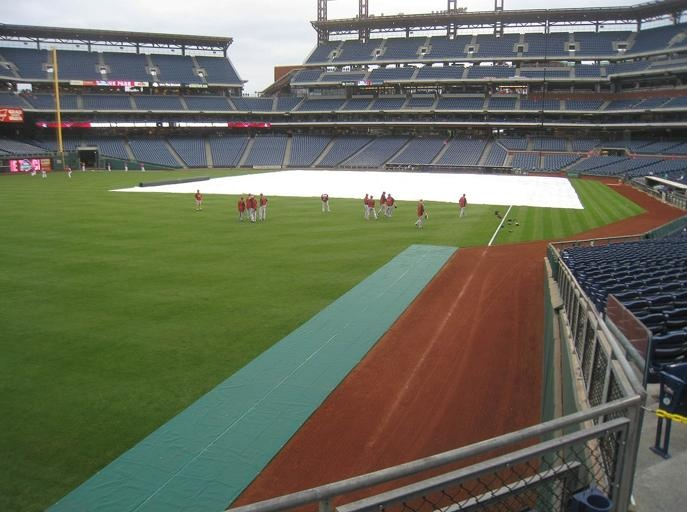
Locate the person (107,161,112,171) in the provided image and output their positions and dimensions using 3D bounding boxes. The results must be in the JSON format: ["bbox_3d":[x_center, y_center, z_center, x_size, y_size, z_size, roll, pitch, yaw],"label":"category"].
[{"bbox_3d":[-31.832,-12.280,68.274,0.522,1.028,1.011,-6,10,-26],"label":"person"}]

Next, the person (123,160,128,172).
[{"bbox_3d":[-29.727,-12.461,68.745,0.638,1.220,0.926,-5,10,-22],"label":"person"}]

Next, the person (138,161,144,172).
[{"bbox_3d":[-27.891,-12.537,69.662,0.719,1.097,1.873,-5,9,-21],"label":"person"}]
